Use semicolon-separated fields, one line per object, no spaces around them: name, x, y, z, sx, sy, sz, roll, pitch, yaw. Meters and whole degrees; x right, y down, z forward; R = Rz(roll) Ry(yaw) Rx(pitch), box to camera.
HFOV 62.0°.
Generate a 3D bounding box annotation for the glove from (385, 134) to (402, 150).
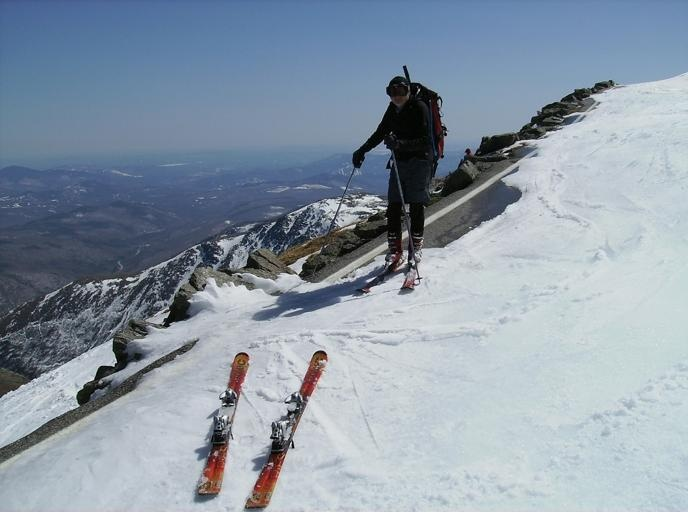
glove;1.023;-2.441;12.412;0.294;0.346;0.515;8;20;18
